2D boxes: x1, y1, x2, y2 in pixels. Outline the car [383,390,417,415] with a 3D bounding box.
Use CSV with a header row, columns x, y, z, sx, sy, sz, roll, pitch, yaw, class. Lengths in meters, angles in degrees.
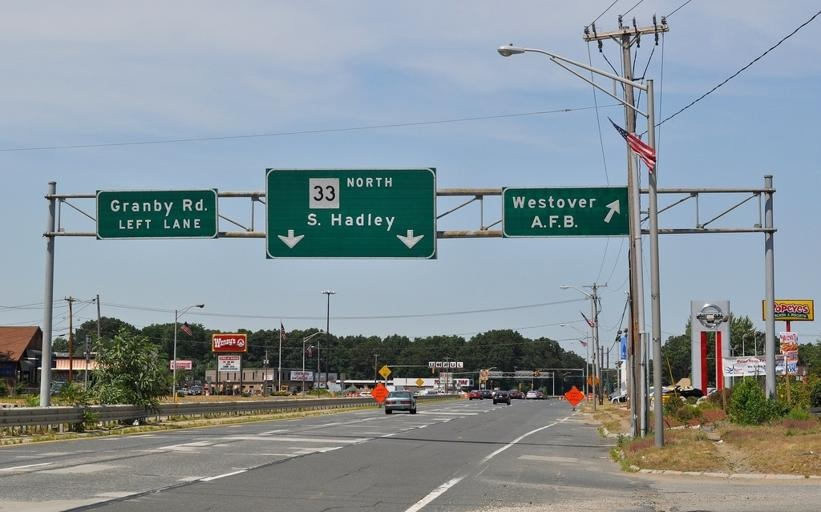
x,y,z,sx,sy,sz,roll,pitch,yaw,class
-0.675,10.652,103.684,1.938,1.748,2.528,-3,-10,13,car
